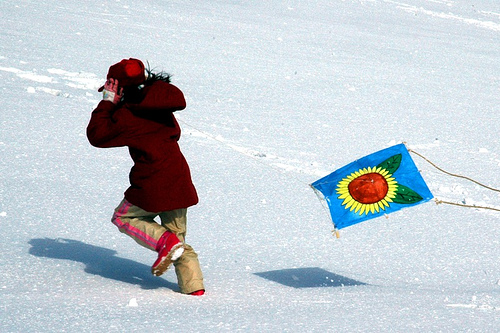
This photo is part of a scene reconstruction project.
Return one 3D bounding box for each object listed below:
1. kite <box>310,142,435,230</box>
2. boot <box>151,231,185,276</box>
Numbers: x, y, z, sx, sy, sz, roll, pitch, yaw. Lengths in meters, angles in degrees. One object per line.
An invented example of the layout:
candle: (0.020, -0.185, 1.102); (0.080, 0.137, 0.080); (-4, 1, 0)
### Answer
kite: (1.579, 0.268, 10.804); (1.672, 0.805, 0.259); (-17, 4, -23)
boot: (-1.013, 1.032, 10.043); (0.331, 0.530, 0.236); (34, 23, 13)
